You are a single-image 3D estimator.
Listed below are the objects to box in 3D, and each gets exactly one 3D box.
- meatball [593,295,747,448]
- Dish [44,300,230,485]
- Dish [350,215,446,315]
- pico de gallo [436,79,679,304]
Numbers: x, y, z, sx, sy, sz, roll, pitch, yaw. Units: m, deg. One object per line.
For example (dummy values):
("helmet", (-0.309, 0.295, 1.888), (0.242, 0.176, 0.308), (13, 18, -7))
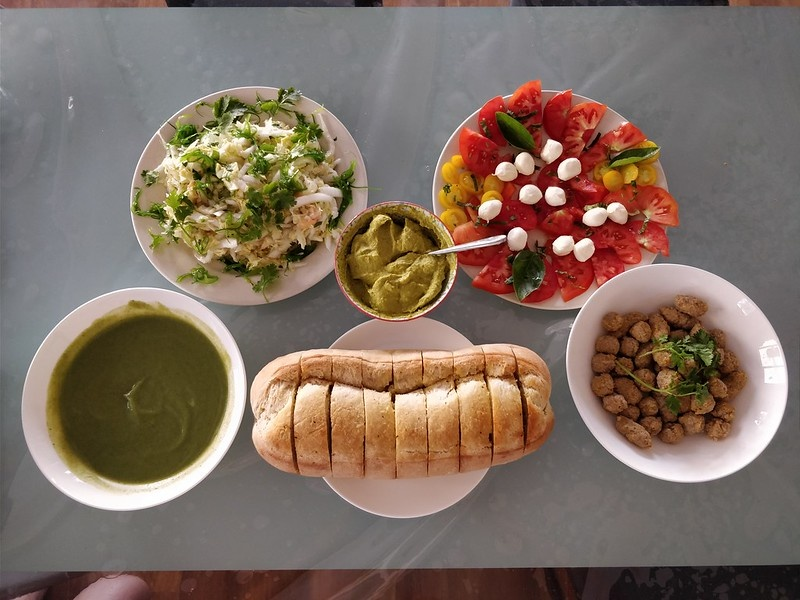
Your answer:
("meatball", (1.093, 0.314, 2.714), (0.555, 0.231, 0.647), (19, 93, 8))
("Dish", (-1.097, 0.408, 2.708), (0.672, 0.183, 0.802), (8, 92, 4))
("Dish", (-0.009, -0.135, 2.654), (0.402, 0.098, 0.383), (0, 83, -1))
("pico de gallo", (0.636, -0.452, 2.809), (0.965, 0.171, 0.938), (-27, 85, -4))
